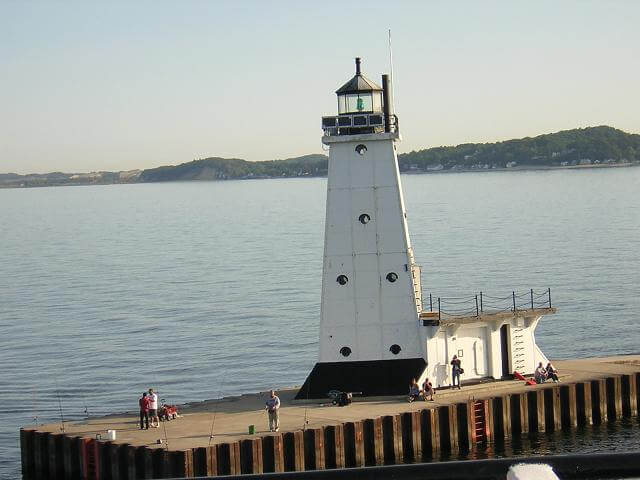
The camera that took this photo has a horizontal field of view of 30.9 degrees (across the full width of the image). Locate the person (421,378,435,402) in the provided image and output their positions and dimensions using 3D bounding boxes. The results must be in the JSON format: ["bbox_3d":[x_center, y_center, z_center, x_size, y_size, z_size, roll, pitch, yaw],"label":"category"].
[{"bbox_3d":[4.879,6.848,53.121,0.534,0.767,1.148,-2,7,5],"label":"person"}]

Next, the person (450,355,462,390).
[{"bbox_3d":[6.279,6.176,54.096,0.509,1.377,0.776,-2,7,5],"label":"person"}]

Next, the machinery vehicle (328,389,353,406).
[{"bbox_3d":[0.863,7.212,53.063,0.745,0.298,0.708,3,0,-29],"label":"machinery vehicle"}]

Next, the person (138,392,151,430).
[{"bbox_3d":[-7.615,7.414,50.361,0.496,1.547,0.594,-4,8,-10],"label":"person"}]
